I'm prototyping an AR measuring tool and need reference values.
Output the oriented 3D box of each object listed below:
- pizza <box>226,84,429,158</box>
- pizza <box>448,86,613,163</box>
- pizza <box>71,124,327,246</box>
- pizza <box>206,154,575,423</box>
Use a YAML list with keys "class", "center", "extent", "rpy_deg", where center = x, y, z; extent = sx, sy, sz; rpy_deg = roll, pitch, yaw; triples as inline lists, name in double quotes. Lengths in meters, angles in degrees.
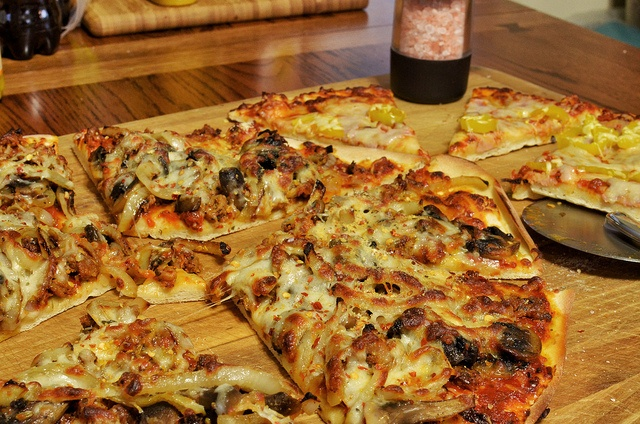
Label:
- class: "pizza"
  center: [0.031, -0.552, 3.459]
  extent: [1.031, 0.102, 0.465]
  rpy_deg: [5, 36, 11]
- class: "pizza"
  center: [1.180, -0.495, 3.423]
  extent: [0.696, 0.103, 0.572]
  rpy_deg: [9, 35, 26]
- class: "pizza"
  center: [-0.550, -0.152, 2.820]
  extent: [0.809, 0.167, 0.745]
  rpy_deg: [-18, 42, -27]
- class: "pizza"
  center: [0.373, 0.288, 2.402]
  extent: [1.297, 0.278, 1.327]
  rpy_deg: [18, 43, 20]
